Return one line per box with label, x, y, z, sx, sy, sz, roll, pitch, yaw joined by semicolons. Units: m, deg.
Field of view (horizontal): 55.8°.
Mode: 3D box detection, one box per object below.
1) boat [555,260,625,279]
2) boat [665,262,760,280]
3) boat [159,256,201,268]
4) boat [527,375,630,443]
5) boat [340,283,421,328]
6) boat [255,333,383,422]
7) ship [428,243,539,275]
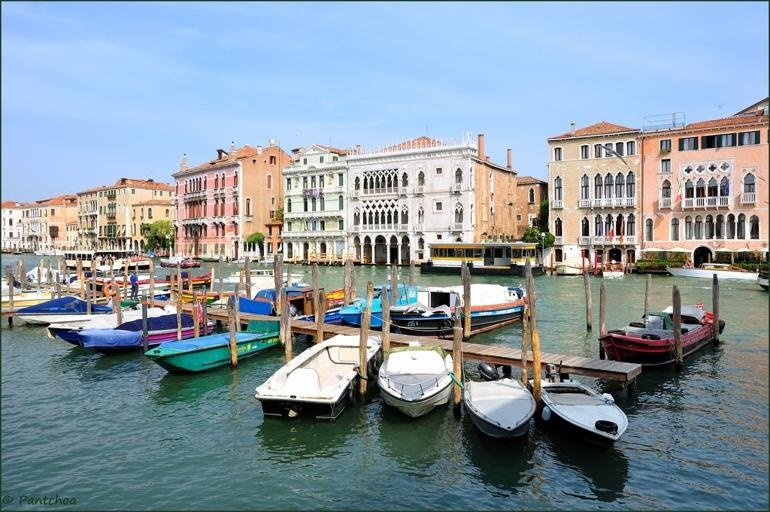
boat;18.623;1.155;61.691;6.786;1.171;8.197;-2;0;-22
boat;25.614;1.286;56.437;2.645;0.955;7.296;-2;0;-35
boat;-21.848;0.748;77.526;4.592;1.012;1.459;-2;-1;32
boat;6.811;5.319;25.432;1.670;0.901;2.894;-8;6;-11
boat;-0.461;2.783;36.294;3.219;2.309;6.718;1;-1;14
boat;-2.510;4.658;28.374;3.038;2.801;4.962;-2;0;18
ship;8.688;0.197;64.003;11.186;2.481;3.507;1;8;29
